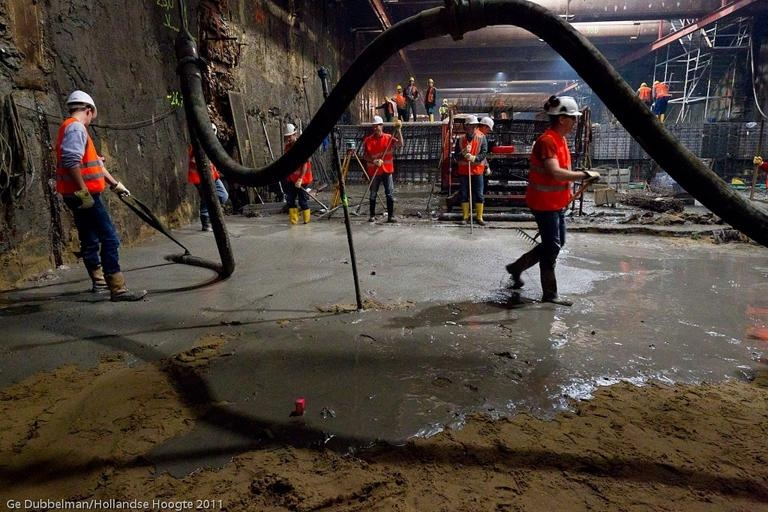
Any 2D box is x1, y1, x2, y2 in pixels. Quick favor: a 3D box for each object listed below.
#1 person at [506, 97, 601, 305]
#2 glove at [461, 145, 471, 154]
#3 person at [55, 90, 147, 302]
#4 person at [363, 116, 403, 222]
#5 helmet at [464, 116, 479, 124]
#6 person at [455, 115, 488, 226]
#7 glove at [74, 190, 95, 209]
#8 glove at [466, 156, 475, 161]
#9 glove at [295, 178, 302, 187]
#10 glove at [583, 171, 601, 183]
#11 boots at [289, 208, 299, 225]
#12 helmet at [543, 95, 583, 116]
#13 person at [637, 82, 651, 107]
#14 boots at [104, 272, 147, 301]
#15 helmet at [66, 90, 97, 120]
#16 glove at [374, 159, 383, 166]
[{"bbox_3d":[1.943,-0.662,6.070,0.939,2.363,0.911,1,13,11],"label":"person"},{"bbox_3d":[1.630,-2.103,10.255,0.116,0.161,0.245,-6,12,-20],"label":"glove"},{"bbox_3d":[-3.437,-0.716,6.104,0.714,2.434,0.971,-8,14,-28],"label":"person"},{"bbox_3d":[-0.023,-1.797,10.854,0.722,2.215,0.600,-2,12,-3],"label":"person"},{"bbox_3d":[1.729,-2.677,10.214,0.230,0.111,0.169,10,22,43],"label":"helmet"},{"bbox_3d":[1.765,-1.729,10.548,0.629,2.174,1.032,0,12,8],"label":"person"},{"bbox_3d":[-3.389,-0.636,5.848,0.188,0.190,0.221,-2,-2,-25],"label":"glove"},{"bbox_3d":[1.692,-1.911,10.142,0.134,0.058,0.171,1,5,7],"label":"glove"},{"bbox_3d":[-1.756,-1.485,10.617,0.124,0.173,0.196,-4,12,-12],"label":"glove"},{"bbox_3d":[2.282,-0.868,5.649,0.182,0.067,0.129,5,3,-38],"label":"glove"},{"bbox_3d":[-1.921,-0.846,10.970,0.168,0.335,0.215,-6,13,-19],"label":"boots"},{"bbox_3d":[2.021,-1.705,5.906,0.358,0.254,0.403,2,12,16],"label":"helmet"},{"bbox_3d":[9.540,-5.918,18.793,0.433,0.753,1.758,5,12,26],"label":"person"},{"bbox_3d":[-3.021,0.372,6.227,0.560,0.363,0.248,0,4,-17],"label":"boots"},{"bbox_3d":[-3.585,-1.809,6.124,0.245,0.286,0.292,-4,12,-16],"label":"helmet"},{"bbox_3d":[-0.118,-1.904,10.592,0.189,0.152,0.044,3,13,17],"label":"glove"}]
